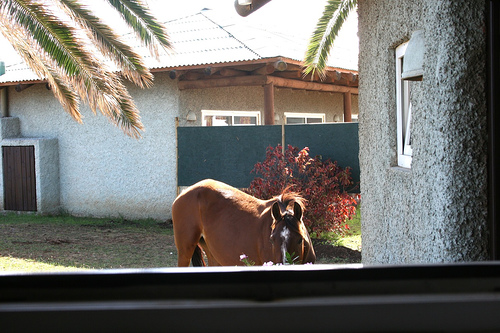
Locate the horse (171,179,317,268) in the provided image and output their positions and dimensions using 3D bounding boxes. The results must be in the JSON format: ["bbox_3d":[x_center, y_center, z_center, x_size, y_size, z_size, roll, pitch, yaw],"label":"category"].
[{"bbox_3d":[-0.144,0.866,9.646,0.817,1.162,2.943,1,0,-32],"label":"horse"}]
